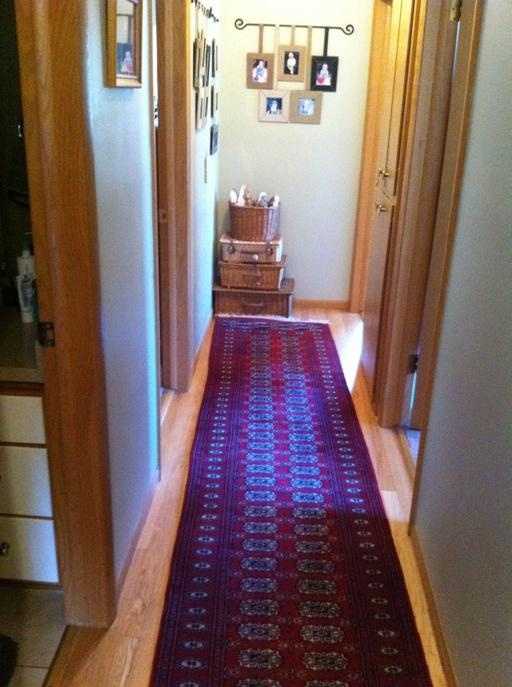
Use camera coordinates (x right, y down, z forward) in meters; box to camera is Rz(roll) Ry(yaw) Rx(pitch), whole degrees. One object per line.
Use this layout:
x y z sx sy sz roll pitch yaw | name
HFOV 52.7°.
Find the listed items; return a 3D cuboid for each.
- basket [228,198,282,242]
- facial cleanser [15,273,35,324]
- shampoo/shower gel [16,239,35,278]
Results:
-0.022 -0.924 3.952 0.270 0.244 0.320 4 24 7 | basket
-0.607 -0.116 1.380 0.040 0.143 0.088 -5 15 -25 | facial cleanser
-0.638 -0.240 1.433 0.041 0.089 0.245 -5 17 -24 | shampoo/shower gel
